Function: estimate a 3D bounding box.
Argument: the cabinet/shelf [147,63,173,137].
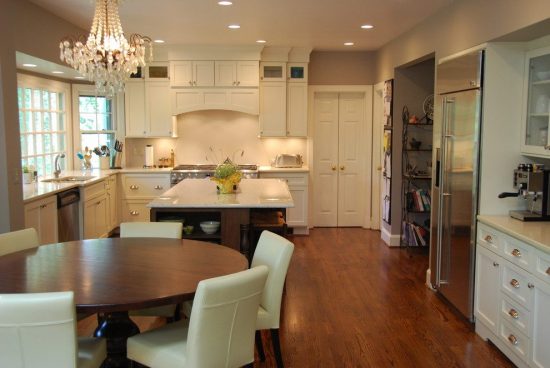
[{"bbox_3d":[-2.054,-1.497,7.164,0.518,1.315,0.320,0,7,-3],"label":"cabinet/shelf"}]

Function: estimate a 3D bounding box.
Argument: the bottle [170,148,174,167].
[{"bbox_3d":[-1.920,-0.497,7.425,0.089,0.321,0.113,-1,12,-9],"label":"bottle"}]

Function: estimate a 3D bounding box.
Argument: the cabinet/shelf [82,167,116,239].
[{"bbox_3d":[-2.718,0.307,6.110,0.372,0.654,1.036,-2,6,-7],"label":"cabinet/shelf"}]

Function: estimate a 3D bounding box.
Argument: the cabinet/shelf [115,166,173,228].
[{"bbox_3d":[-2.485,0.279,7.246,1.003,0.967,0.719,-1,-2,-40],"label":"cabinet/shelf"}]

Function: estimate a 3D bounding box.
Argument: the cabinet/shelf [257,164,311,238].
[{"bbox_3d":[0.229,0.161,7.487,1.040,1.326,0.989,-5,24,-6],"label":"cabinet/shelf"}]

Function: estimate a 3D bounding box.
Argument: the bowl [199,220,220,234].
[{"bbox_3d":[-0.738,0.500,4.524,0.220,0.133,0.154,-2,12,-14],"label":"bowl"}]

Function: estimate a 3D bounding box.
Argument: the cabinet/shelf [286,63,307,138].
[{"bbox_3d":[0.382,-1.530,7.109,0.345,1.267,0.192,3,12,11],"label":"cabinet/shelf"}]

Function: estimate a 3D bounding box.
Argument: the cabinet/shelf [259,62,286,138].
[{"bbox_3d":[0.020,-1.508,7.277,0.540,1.391,0.448,0,-9,14],"label":"cabinet/shelf"}]

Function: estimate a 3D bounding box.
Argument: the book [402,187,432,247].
[{"bbox_3d":[2.260,0.558,6.331,0.450,0.978,0.583,2,12,7],"label":"book"}]

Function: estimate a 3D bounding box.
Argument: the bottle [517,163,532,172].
[{"bbox_3d":[2.466,-0.168,3.930,0.106,0.106,0.108,2,8,41],"label":"bottle"}]

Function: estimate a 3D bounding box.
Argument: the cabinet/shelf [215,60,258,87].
[{"bbox_3d":[-0.664,-1.957,7.124,0.790,0.486,0.418,0,0,-2],"label":"cabinet/shelf"}]

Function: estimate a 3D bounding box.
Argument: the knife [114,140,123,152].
[{"bbox_3d":[-2.808,-0.685,7.124,0.163,0.299,0.160,5,9,-19],"label":"knife"}]

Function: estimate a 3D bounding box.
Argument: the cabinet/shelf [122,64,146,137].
[{"bbox_3d":[-2.533,-1.474,7.041,0.333,1.022,0.090,7,27,32],"label":"cabinet/shelf"}]

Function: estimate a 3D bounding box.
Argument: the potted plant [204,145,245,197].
[{"bbox_3d":[-0.621,-0.145,5.005,0.389,0.524,0.384,3,9,13],"label":"potted plant"}]

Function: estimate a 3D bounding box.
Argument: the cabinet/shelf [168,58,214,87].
[{"bbox_3d":[-1.446,-1.982,7.110,0.799,0.491,0.452,0,5,-4],"label":"cabinet/shelf"}]

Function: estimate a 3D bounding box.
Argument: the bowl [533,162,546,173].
[{"bbox_3d":[2.545,-0.153,3.835,0.113,0.104,0.139,0,0,7],"label":"bowl"}]
